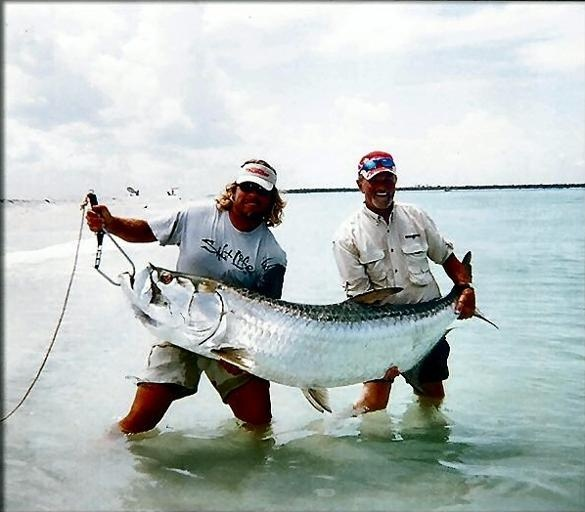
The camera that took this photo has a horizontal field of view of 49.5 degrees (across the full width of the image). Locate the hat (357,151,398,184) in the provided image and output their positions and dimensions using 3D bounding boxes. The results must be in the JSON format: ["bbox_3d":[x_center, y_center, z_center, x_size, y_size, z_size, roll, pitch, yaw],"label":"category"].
[{"bbox_3d":[0.788,-0.838,5.915,0.331,0.272,0.150,5,10,8],"label":"hat"}]
